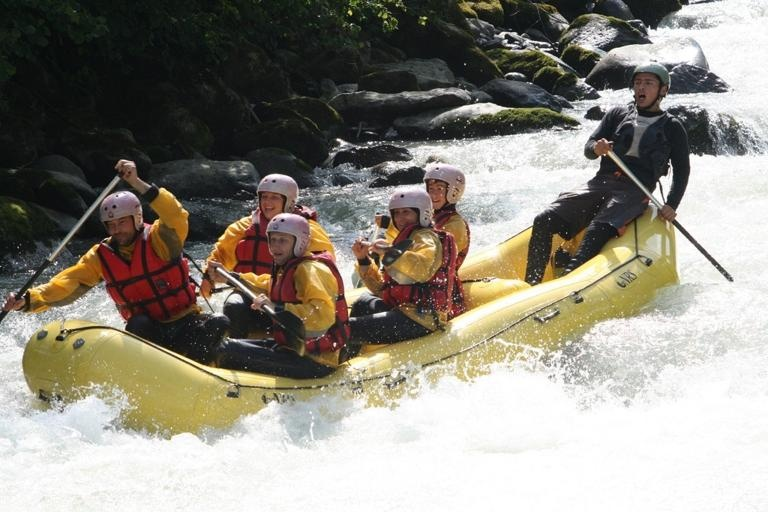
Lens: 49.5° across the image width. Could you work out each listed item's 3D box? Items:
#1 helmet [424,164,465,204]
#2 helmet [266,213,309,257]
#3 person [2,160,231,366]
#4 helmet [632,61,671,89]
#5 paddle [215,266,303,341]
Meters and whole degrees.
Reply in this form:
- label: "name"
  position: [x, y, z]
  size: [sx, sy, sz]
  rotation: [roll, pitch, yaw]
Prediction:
- label: "helmet"
  position: [0.632, -0.755, 8.538]
  size: [0.445, 0.395, 0.330]
  rotation: [12, -9, -40]
- label: "helmet"
  position: [-0.755, -0.229, 7.349]
  size: [0.298, 0.384, 0.346]
  rotation: [6, 47, 23]
- label: "person"
  position: [-3.043, 0.100, 9.156]
  size: [1.544, 1.188, 2.051]
  rotation: [-31, 63, -5]
- label: "helmet"
  position: [2.916, -1.965, 9.087]
  size: [0.356, 0.289, 0.314]
  rotation: [1, 21, 31]
- label: "paddle"
  position: [-1.108, 0.398, 7.309]
  size: [0.234, 0.615, 0.967]
  rotation: [-23, 22, -34]
